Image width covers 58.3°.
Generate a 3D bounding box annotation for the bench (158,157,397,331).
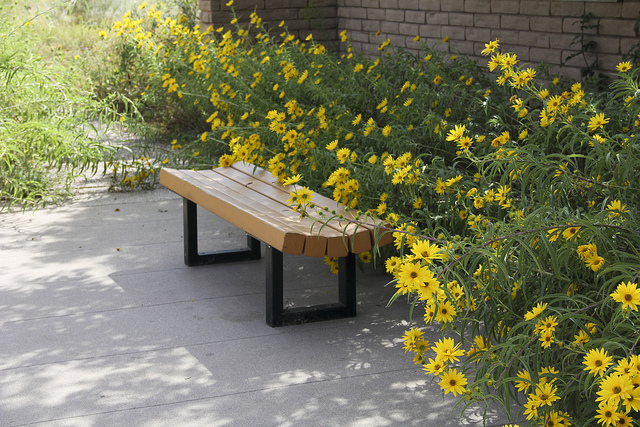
[{"bbox_3d":[-0.283,0.116,3.574,0.801,0.868,2.023,-9,14,-36],"label":"bench"}]
